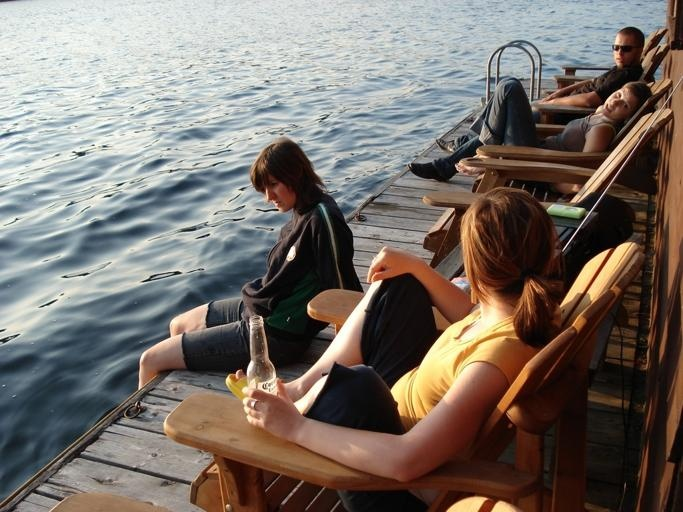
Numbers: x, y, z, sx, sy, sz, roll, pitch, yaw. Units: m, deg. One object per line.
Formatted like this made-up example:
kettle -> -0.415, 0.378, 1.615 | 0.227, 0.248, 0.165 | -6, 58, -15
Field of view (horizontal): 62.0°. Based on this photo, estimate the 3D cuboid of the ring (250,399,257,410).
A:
ring -> -0.281, 0.473, 1.825 | 0.027, 0.008, 0.025 | -4, 38, 3

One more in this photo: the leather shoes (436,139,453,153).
leather shoes -> 1.241, -1.306, 6.658 | 0.131, 0.090, 0.284 | 20, 7, -42

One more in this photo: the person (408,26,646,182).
person -> 1.989, -1.556, 5.787 | 2.303, 1.066, 1.026 | 5, 25, 39

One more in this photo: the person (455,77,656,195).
person -> 1.915, -0.926, 5.145 | 1.324, 0.690, 0.717 | 13, 69, 5

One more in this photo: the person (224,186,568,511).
person -> 0.264, 0.315, 2.056 | 0.934, 1.158, 1.052 | 12, 32, 23
